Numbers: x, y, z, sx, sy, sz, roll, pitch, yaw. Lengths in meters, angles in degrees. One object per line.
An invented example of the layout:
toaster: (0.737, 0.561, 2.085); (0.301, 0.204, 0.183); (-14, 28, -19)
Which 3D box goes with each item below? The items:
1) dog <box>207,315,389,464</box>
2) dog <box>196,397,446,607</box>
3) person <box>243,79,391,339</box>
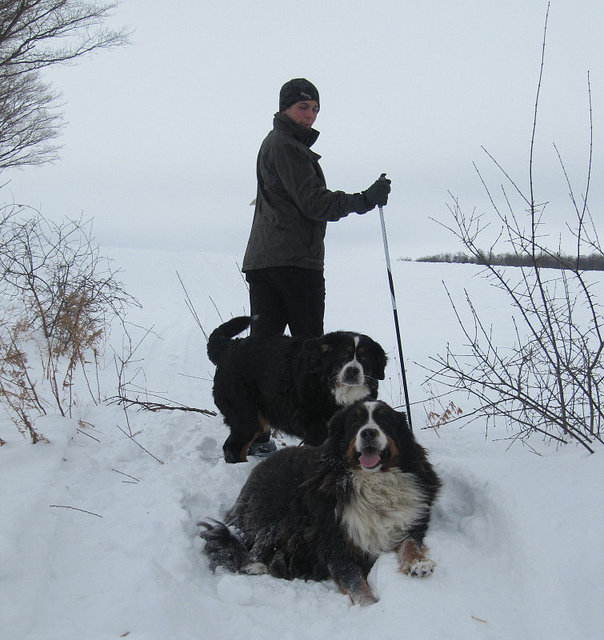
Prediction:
dog: (-0.100, 0.565, 5.418); (2.019, 1.363, 0.877); (-2, -3, 44)
dog: (0.063, 1.213, 4.127); (1.043, 0.888, 1.354); (12, -24, -38)
person: (-0.029, -0.895, 5.106); (0.554, 2.112, 1.187); (-9, 12, -40)
